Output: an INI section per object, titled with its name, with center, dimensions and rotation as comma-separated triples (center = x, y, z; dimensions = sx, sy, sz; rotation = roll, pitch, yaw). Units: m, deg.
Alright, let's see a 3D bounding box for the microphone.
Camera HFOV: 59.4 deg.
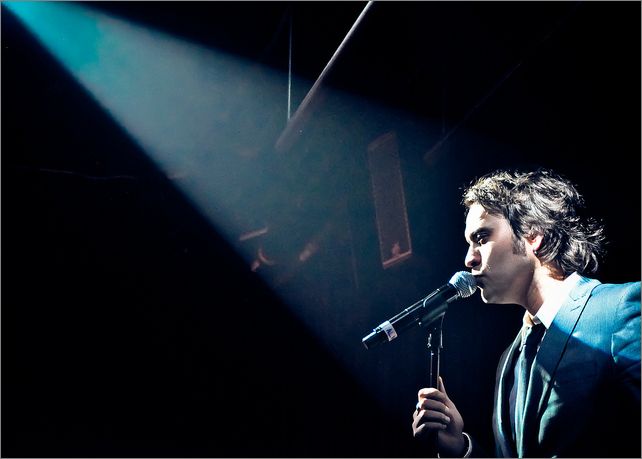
[microphone]
center = 0.754, 0.602, 4.157
dimensions = 0.801, 0.186, 0.232
rotation = -35, -39, -8
